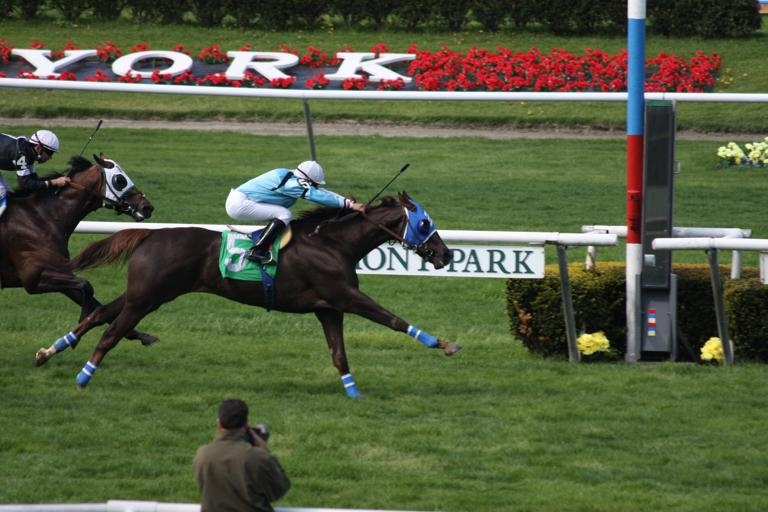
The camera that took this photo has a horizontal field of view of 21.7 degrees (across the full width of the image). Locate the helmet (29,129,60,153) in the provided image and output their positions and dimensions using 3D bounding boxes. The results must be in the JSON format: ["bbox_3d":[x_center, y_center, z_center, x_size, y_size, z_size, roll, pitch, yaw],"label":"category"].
[{"bbox_3d":[-3.584,-1.248,21.475,0.300,0.165,0.219,27,20,-7],"label":"helmet"}]

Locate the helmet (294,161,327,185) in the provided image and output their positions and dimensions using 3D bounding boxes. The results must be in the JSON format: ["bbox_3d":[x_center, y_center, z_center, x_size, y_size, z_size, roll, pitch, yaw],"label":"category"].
[{"bbox_3d":[-0.707,-0.865,20.865,0.311,0.186,0.212,26,17,-22],"label":"helmet"}]

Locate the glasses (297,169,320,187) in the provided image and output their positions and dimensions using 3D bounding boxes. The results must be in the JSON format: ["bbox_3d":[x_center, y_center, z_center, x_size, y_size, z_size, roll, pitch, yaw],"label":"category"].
[{"bbox_3d":[-0.770,-0.800,20.831,0.226,0.077,0.144,18,10,-8],"label":"glasses"}]
